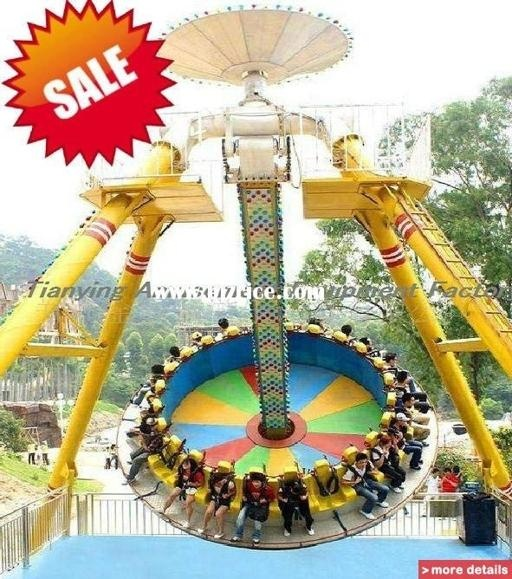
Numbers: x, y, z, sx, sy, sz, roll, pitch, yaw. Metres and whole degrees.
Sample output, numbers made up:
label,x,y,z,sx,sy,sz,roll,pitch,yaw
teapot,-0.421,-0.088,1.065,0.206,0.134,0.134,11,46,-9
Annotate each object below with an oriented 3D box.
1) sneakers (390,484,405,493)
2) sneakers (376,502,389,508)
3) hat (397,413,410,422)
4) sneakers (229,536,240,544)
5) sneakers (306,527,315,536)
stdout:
label,x,y,z,sx,sy,sz,roll,pitch,yaw
sneakers,2.664,3.801,9.620,0.255,0.077,0.093,7,-29,22
sneakers,2.295,3.937,9.241,0.222,0.079,0.095,-2,7,9
hat,2.994,2.594,10.296,0.279,0.085,0.167,4,14,-17
sneakers,-0.356,4.326,8.709,0.201,0.070,0.072,7,9,-6
sneakers,0.951,4.270,8.915,0.095,0.062,0.176,-2,-2,-2
